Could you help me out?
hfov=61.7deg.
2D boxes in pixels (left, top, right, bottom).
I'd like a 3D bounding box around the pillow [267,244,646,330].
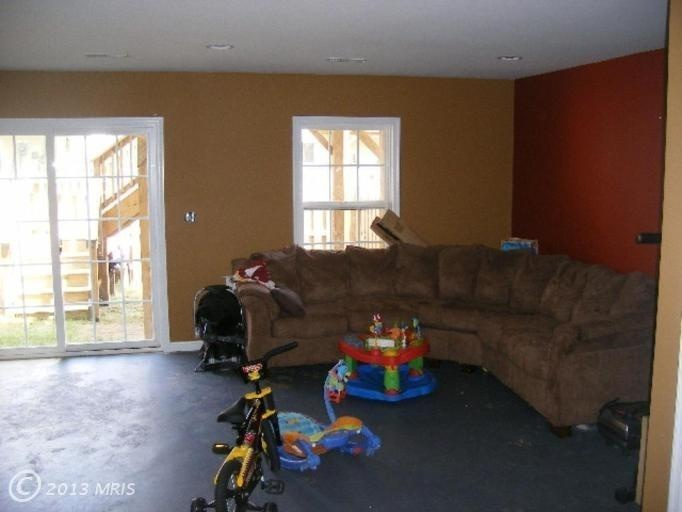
[{"bbox_3d":[1.051,0.237,5.747,1.438,0.535,1.681,0,4,-23],"label":"pillow"}]
